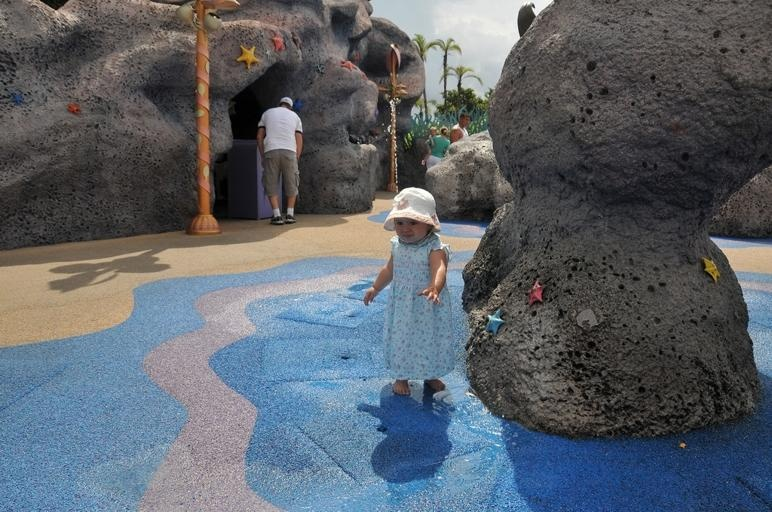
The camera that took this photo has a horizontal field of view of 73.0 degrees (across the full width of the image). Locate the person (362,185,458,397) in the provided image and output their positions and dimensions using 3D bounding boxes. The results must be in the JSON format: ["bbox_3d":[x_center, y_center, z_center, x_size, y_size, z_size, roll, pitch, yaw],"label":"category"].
[{"bbox_3d":[0.146,0.197,3.018,0.533,1.160,0.494,5,13,17],"label":"person"}]

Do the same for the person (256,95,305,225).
[{"bbox_3d":[-1.617,-1.356,7.913,0.621,1.741,0.316,-2,13,-16],"label":"person"}]

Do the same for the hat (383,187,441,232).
[{"bbox_3d":[0.150,-0.265,3.060,0.320,0.271,0.326,1,12,0],"label":"hat"}]
